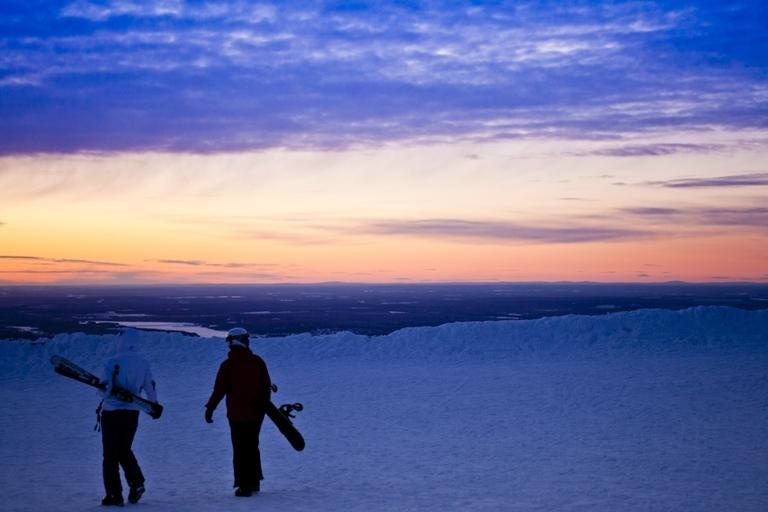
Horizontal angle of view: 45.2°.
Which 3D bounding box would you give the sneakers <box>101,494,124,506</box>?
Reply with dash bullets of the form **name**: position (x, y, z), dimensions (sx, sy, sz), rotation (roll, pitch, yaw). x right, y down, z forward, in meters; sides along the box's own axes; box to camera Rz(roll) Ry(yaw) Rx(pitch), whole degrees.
- **sneakers**: position (-7.641, 6.979, 26.288), dimensions (0.849, 0.202, 0.213), rotation (3, 25, -2)
